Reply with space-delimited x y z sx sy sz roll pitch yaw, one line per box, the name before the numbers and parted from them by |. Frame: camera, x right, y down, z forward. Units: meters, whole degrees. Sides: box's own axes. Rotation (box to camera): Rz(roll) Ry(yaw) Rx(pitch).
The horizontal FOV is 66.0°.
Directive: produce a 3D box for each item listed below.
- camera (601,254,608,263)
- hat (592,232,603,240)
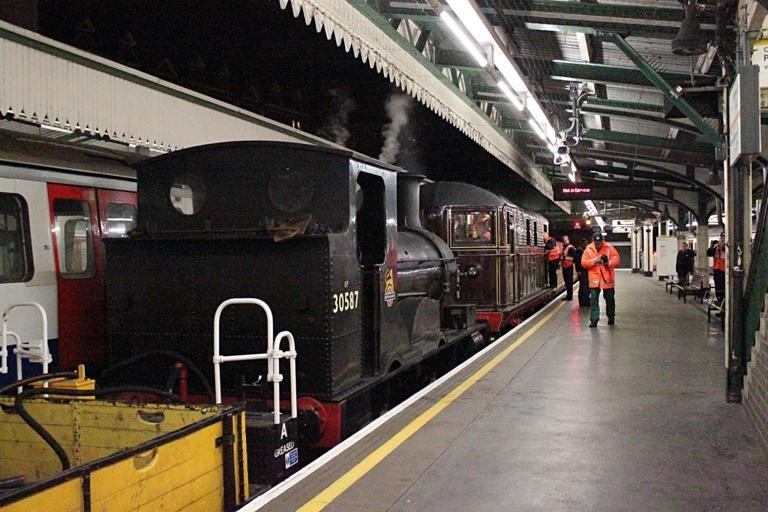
camera | 5.071 0.057 13.579 0.130 0.200 0.111 5 6 28
hat | 4.888 -0.471 13.499 0.173 0.123 0.238 2 23 18
